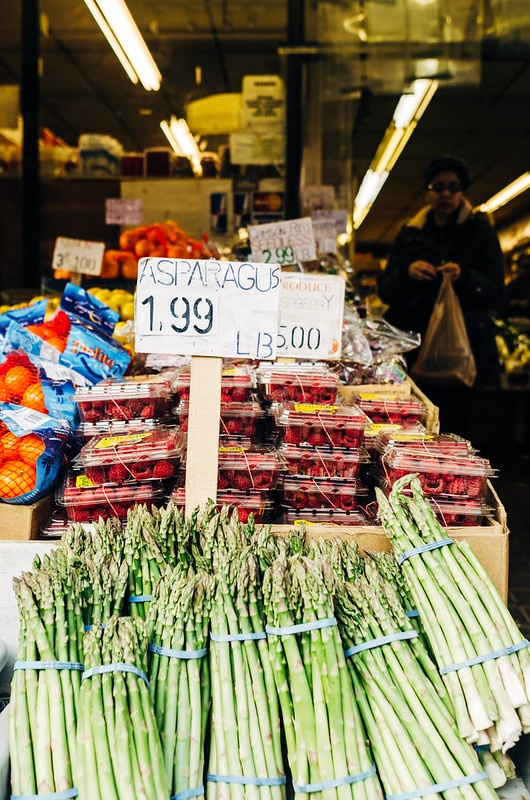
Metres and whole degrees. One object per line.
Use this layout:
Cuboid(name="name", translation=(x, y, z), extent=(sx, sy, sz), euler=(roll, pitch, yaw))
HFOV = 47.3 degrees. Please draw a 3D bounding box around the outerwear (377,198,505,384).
Cuboid(name="outerwear", translation=(1.162, -0.749, 3.958), extent=(0.782, 1.096, 0.661), euler=(8, 18, 31))
